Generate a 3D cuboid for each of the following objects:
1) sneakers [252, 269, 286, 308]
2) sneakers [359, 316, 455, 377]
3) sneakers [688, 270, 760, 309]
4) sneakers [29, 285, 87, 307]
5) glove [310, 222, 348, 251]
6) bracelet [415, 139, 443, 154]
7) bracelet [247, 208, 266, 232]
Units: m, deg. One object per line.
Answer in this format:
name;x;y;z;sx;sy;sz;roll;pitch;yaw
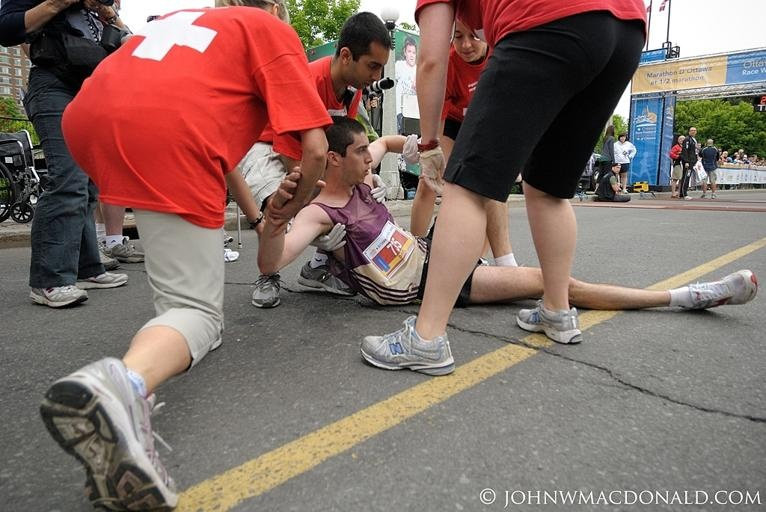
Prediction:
sneakers;-0.841;0.257;3.416;0.151;0.142;0.314;0;5;-6
sneakers;0.118;0.435;2.456;0.498;0.261;0.217;7;4;14
sneakers;2.106;0.218;2.988;0.370;0.160;0.224;-8;30;32
sneakers;-2.338;0.270;3.473;0.397;0.206;0.166;1;3;3
glove;-0.343;-0.102;3.153;0.152;0.060;0.202;-14;-23;-41
bracelet;0.248;-0.595;2.605;0.079;0.042;0.066;-2;26;32
bracelet;-0.813;-0.247;3.092;0.106;0.056;0.144;10;56;12
